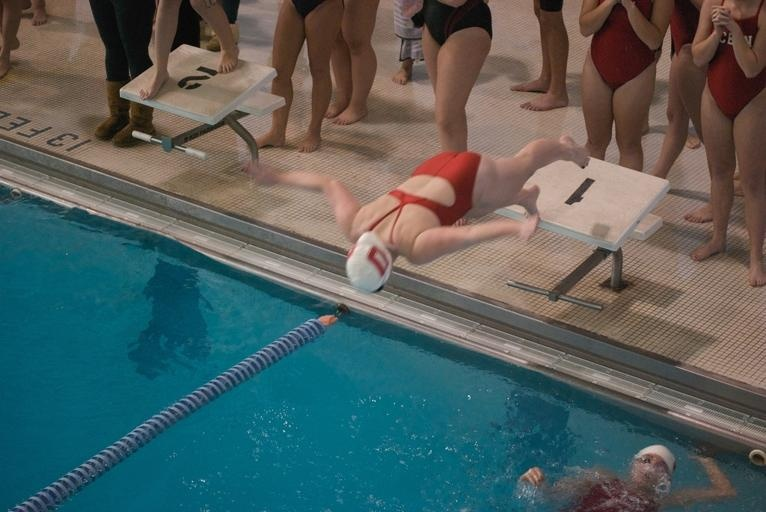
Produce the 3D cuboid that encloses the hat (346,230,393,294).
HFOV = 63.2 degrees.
[{"bbox_3d":[-0.059,0.019,3.152,0.251,0.266,0.294,10,19,16],"label":"hat"}]

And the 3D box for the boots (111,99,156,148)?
[{"bbox_3d":[-2.299,-1.226,5.691,0.241,0.403,0.470,35,39,21],"label":"boots"}]

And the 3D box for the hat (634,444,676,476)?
[{"bbox_3d":[1.518,1.142,3.507,0.179,0.182,0.117,6,78,11],"label":"hat"}]
